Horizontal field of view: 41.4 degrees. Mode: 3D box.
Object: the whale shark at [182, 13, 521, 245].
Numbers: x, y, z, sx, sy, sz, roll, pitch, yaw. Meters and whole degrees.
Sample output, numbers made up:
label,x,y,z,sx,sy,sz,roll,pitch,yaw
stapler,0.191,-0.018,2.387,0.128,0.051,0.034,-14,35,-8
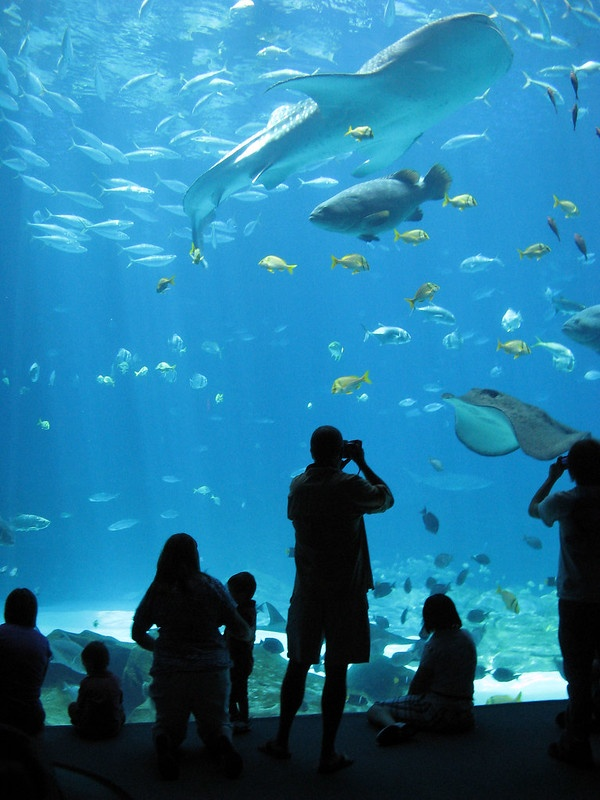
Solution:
label,x,y,z,sx,sy,sz,roll,pitch,yaw
whale shark,0.180,-3.390,9.694,5.050,1.152,1.803,-17,-11,30
